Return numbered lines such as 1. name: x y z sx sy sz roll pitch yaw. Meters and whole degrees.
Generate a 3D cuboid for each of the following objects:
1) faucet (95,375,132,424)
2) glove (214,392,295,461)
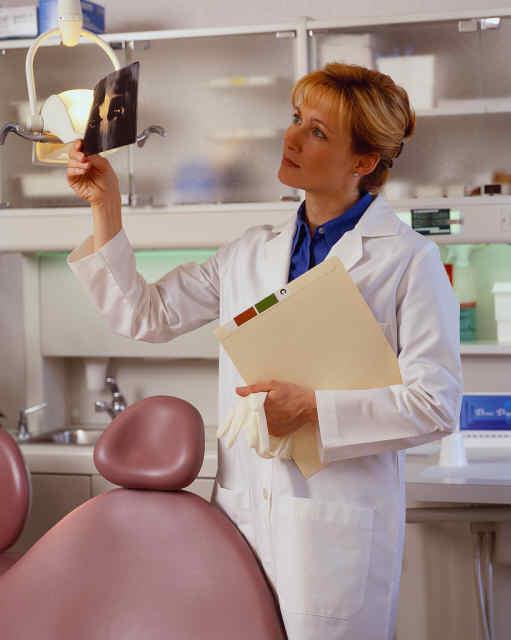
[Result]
1. faucet: -0.523 0.277 2.435 0.058 0.177 0.262 20 22 -27
2. glove: -0.001 0.152 0.981 0.108 0.106 0.041 1 2 19
